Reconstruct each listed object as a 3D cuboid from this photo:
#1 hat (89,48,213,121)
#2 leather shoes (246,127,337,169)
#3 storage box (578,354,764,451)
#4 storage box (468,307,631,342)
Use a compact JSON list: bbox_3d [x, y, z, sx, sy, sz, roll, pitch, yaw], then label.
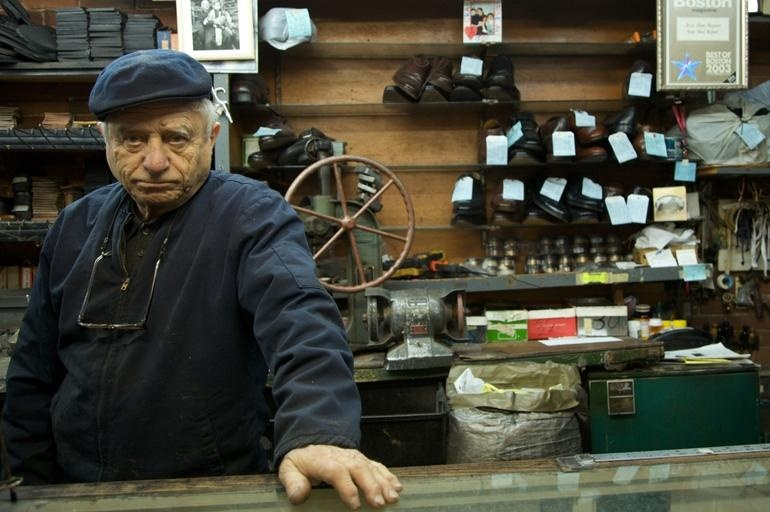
[{"bbox_3d":[-0.970,-0.697,3.629,0.392,0.136,0.318,-6,7,-42],"label":"hat"},{"bbox_3d":[-0.601,-0.700,5.641,0.639,0.235,0.241,-3,5,10],"label":"leather shoes"},{"bbox_3d":[1.612,0.837,4.743,0.786,0.524,0.509,-1,-2,1],"label":"storage box"},{"bbox_3d":[1.052,0.425,5.511,1.072,0.178,0.170,-2,1,-3],"label":"storage box"}]
